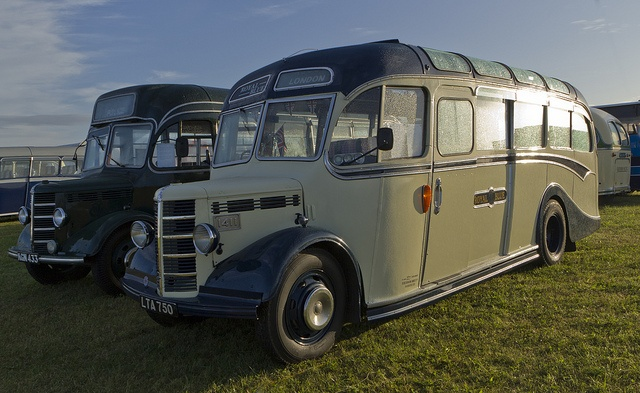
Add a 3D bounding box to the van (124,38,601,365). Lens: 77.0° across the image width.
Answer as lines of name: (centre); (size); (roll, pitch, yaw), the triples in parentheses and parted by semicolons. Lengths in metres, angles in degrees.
van: (1.143, -0.304, 6.937); (8.451, 4.531, 2.237); (-11, 15, -29)
